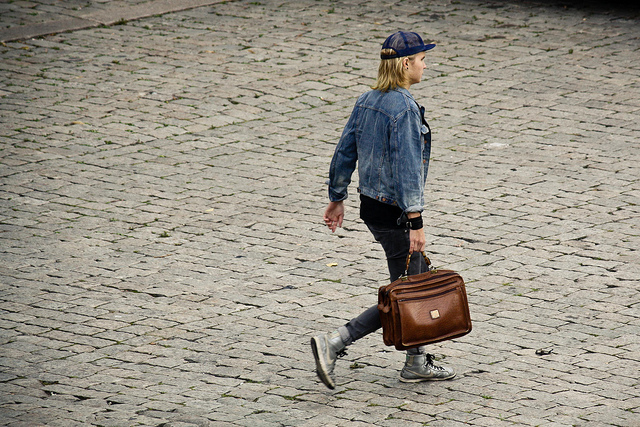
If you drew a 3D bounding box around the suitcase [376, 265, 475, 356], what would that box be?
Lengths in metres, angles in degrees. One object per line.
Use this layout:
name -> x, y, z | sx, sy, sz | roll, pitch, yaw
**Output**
suitcase -> 1.164, 1.061, 14.601 | 1.071, 0.812, 0.481 | -10, 25, -9
